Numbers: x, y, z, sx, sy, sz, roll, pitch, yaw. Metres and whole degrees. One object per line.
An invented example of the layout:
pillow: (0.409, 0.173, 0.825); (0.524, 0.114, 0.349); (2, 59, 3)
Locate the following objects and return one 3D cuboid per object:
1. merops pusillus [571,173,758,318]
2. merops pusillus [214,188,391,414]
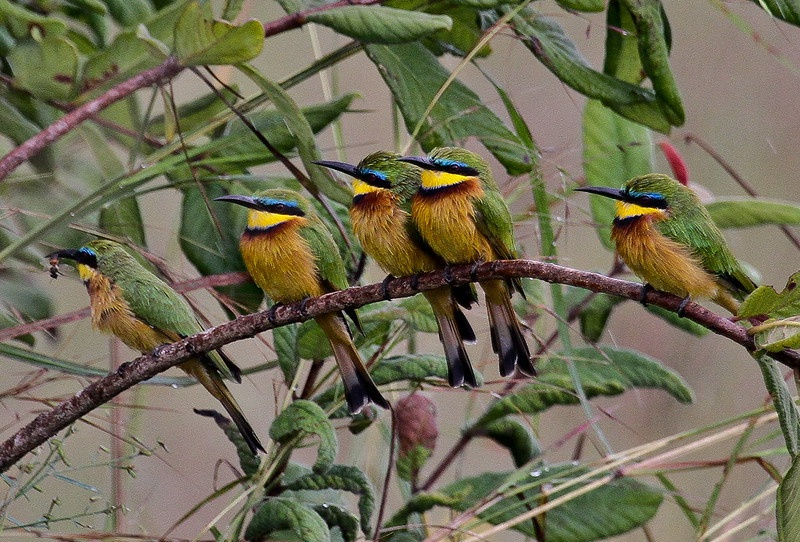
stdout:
merops pusillus: (0.877, -0.050, 2.640); (0.733, 0.266, 0.468); (-2, -87, -26)
merops pusillus: (-0.279, 0.069, 2.549); (0.763, 0.244, 0.353); (40, -67, 10)
